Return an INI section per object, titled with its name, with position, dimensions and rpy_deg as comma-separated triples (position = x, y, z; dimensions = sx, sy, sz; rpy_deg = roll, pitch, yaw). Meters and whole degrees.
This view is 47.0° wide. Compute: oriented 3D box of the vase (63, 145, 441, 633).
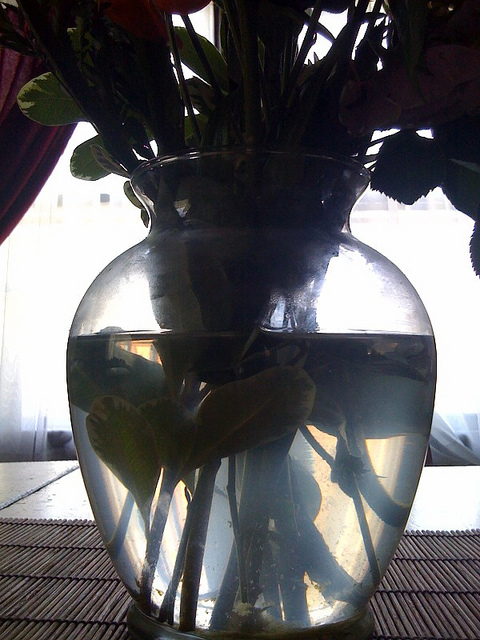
[vase]
position = 0.015, 0.047, 0.386
dimensions = 0.195, 0.280, 0.220
rpy_deg = 1, -10, -6
